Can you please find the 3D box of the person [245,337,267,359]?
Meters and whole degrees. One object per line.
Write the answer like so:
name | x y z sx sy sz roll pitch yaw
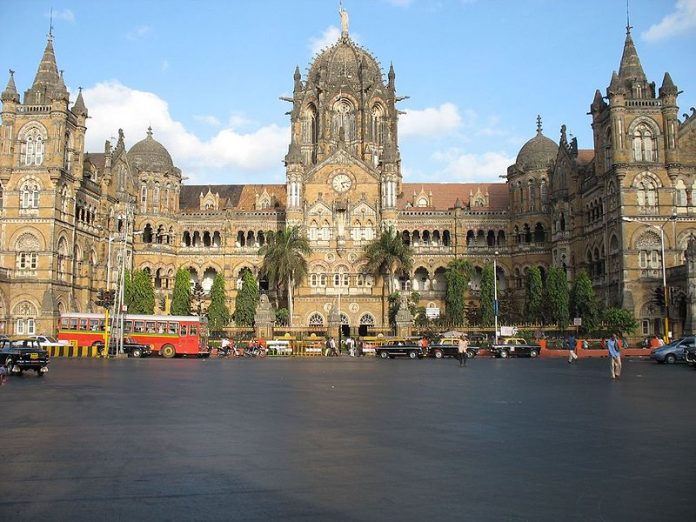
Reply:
person | -6.378 5.978 66.352 0.831 0.868 1.307 4 -9 -41

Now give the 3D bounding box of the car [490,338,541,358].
car | 10.876 5.818 64.708 2.232 1.043 1.480 -2 -4 2

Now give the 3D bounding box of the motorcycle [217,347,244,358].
motorcycle | -8.049 6.222 66.963 1.322 0.900 0.831 1 -3 -26

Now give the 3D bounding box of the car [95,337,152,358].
car | -14.202 5.538 61.990 3.014 1.139 1.398 0 -3 -3

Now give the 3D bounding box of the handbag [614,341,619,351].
handbag | 11.592 3.700 42.640 0.128 0.387 0.269 9 -18 -44

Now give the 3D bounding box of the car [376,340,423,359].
car | 3.403 5.820 63.668 2.245 1.049 1.380 -1 -7 5

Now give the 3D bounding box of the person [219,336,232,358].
person | -8.256 5.880 66.524 0.836 1.252 2.681 1 -7 -8

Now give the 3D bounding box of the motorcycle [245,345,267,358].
motorcycle | -6.224 6.084 66.056 1.066 0.715 0.699 -2 -2 -3

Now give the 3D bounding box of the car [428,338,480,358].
car | 6.747 5.811 64.679 2.362 1.147 1.422 -2 -4 1

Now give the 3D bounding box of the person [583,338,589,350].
person | 16.340 5.747 68.108 0.375 0.666 1.414 -2 -8 16
